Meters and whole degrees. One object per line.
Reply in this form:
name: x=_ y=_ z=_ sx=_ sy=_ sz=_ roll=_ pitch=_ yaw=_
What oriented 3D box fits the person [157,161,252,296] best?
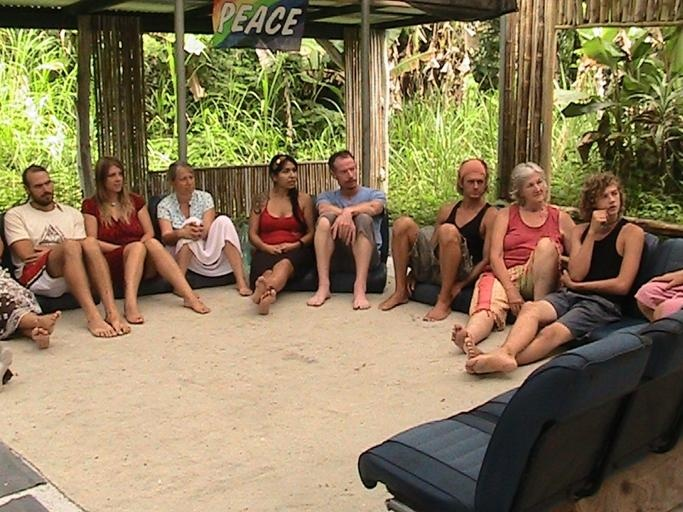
person: x=-1.470 y=-0.270 z=5.801 sx=0.791 sy=1.464 sz=1.249 roll=-20 pitch=33 yaw=-35

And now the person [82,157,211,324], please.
person: x=-1.875 y=-0.170 z=4.940 sx=0.689 sy=1.213 sz=1.691 roll=-13 pitch=22 yaw=-37

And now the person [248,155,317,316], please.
person: x=-0.614 y=-0.268 z=5.120 sx=0.617 sy=1.203 sz=1.567 roll=1 pitch=19 yaw=2

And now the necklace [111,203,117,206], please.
necklace: x=-2.166 y=-0.491 z=5.210 sx=0.030 sy=0.008 sz=0.031 roll=4 pitch=46 yaw=-4
